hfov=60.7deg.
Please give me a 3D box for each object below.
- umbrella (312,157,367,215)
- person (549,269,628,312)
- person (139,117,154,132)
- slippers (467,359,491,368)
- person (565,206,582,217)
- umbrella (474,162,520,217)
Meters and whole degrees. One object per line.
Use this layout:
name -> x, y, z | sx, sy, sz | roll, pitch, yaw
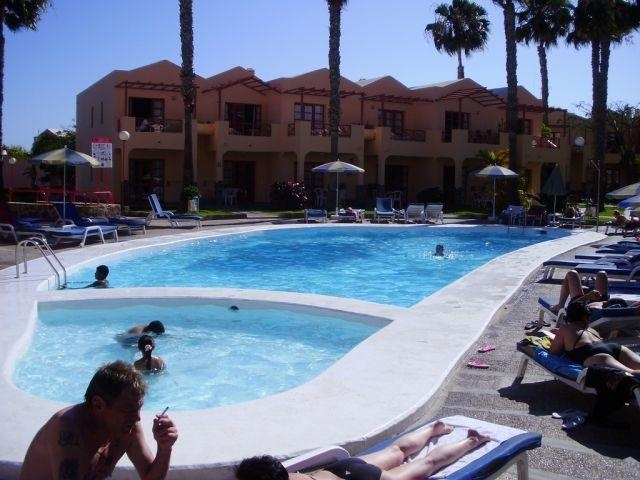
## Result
umbrella -> 1.049, -2.784, 26.170 | 2.780, 3.271, 2.924 | -1, 5, -11
person -> 3.659, 0.714, 7.472 | 0.685, 0.454, 0.994 | 0, -3, -42
person -> -8.722, -5.786, 27.427 | 0.625, 0.761, 1.304 | -1, 8, -19
slippers -> 1.863, 1.452, 6.431 | 0.247, 0.036, 0.274 | 4, 8, 14
person -> 10.969, -1.198, 23.815 | 0.637, 0.392, 0.956 | -2, 10, 12
umbrella -> 7.708, -2.065, 24.196 | 1.832, 2.313, 1.897 | -7, 7, -26
